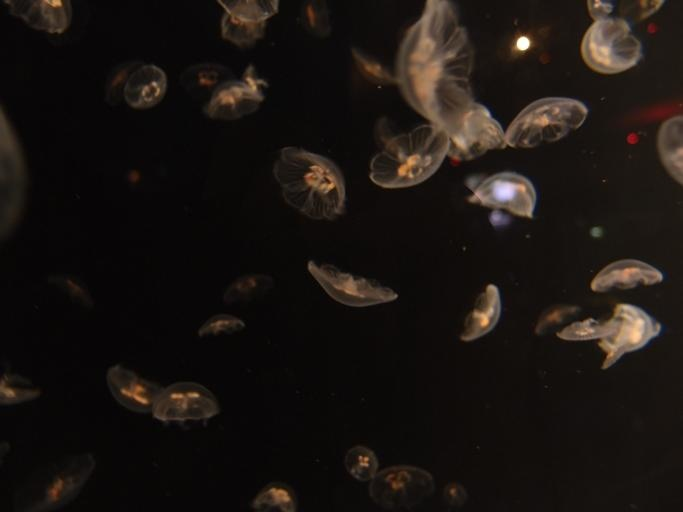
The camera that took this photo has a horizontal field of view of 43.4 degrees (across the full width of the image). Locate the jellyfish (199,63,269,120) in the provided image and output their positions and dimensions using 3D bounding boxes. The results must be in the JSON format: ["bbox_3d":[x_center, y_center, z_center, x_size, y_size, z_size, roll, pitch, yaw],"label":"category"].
[{"bbox_3d":[-0.829,-1.222,6.709,0.439,0.380,0.153,-25,13,8],"label":"jellyfish"}]

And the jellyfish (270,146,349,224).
[{"bbox_3d":[-0.244,-0.572,6.793,0.580,0.544,0.118,5,15,7],"label":"jellyfish"}]

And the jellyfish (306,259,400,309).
[{"bbox_3d":[0.068,0.274,6.853,0.787,0.204,0.303,23,35,-1],"label":"jellyfish"}]

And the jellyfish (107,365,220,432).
[{"bbox_3d":[-1.405,1.076,6.791,0.877,0.363,0.153,5,15,8],"label":"jellyfish"}]

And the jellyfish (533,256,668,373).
[{"bbox_3d":[2.131,0.456,6.793,0.832,0.848,0.173,0,15,-8],"label":"jellyfish"}]

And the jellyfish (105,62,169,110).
[{"bbox_3d":[-1.581,-1.368,6.627,0.342,0.409,0.265,-5,18,-12],"label":"jellyfish"}]

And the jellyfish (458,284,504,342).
[{"bbox_3d":[1.119,0.462,6.816,0.330,0.440,0.079,-3,15,-17],"label":"jellyfish"}]

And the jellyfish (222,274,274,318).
[{"bbox_3d":[-0.748,0.293,6.822,0.351,0.373,0.310,-9,10,-22],"label":"jellyfish"}]
